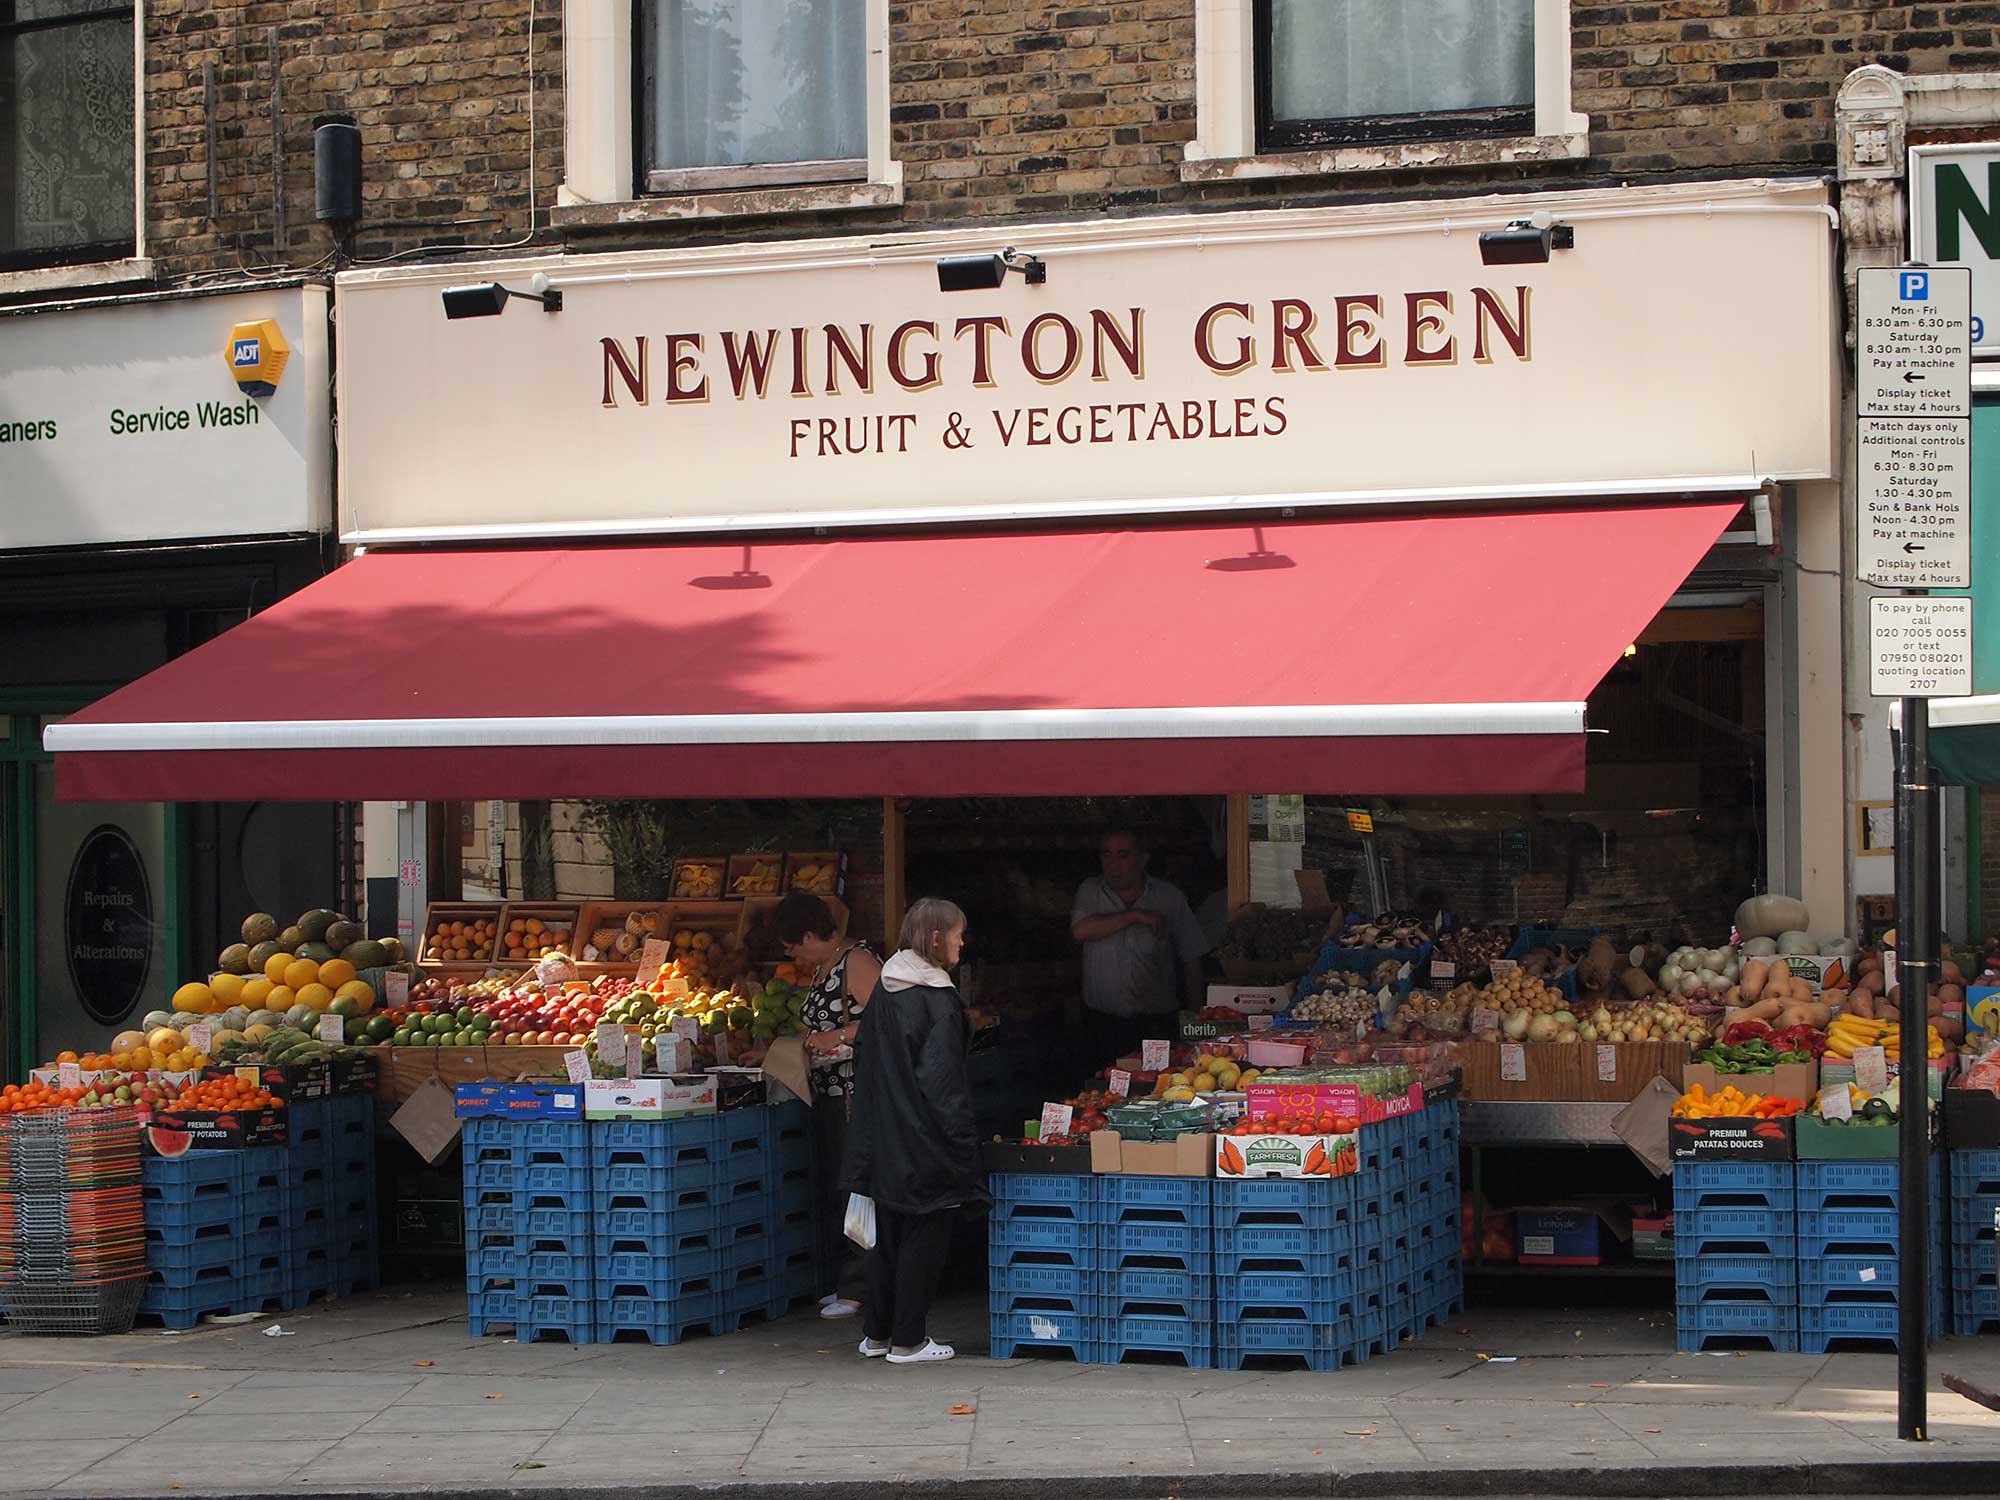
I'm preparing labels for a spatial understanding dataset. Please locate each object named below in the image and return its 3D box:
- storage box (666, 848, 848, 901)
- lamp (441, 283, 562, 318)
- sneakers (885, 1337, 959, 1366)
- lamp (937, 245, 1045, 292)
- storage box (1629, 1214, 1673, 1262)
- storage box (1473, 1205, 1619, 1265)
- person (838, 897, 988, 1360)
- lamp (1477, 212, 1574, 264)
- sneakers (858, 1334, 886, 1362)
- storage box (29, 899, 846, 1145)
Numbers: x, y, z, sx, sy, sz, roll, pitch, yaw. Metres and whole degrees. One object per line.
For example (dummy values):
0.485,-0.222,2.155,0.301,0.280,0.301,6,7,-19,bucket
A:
-1.394,0.672,18.460,0.987,0.244,0.368,-3,4,13,storage box
-2.741,-2.449,18.034,0.265,0.174,0.490,3,7,27,lamp
-0.363,2.748,15.346,0.318,0.123,0.113,-1,-2,-15,sneakers
-0.062,-2.517,17.383,0.441,0.182,0.253,-1,2,5,lamp
3.279,2.439,16.730,0.280,0.194,0.199,1,4,10,storage box
2.705,2.440,16.736,0.495,0.222,0.347,0,-1,16,storage box
-0.417,1.750,15.365,0.638,2.086,0.403,-5,3,-4,person
2.655,-2.574,16.733,0.468,0.244,0.262,-4,4,9,lamp
-0.605,2.764,15.443,0.064,0.069,0.156,8,-15,-24,sneakers
-2.977,1.504,17.293,3.539,0.768,2.473,-4,4,9,storage box
